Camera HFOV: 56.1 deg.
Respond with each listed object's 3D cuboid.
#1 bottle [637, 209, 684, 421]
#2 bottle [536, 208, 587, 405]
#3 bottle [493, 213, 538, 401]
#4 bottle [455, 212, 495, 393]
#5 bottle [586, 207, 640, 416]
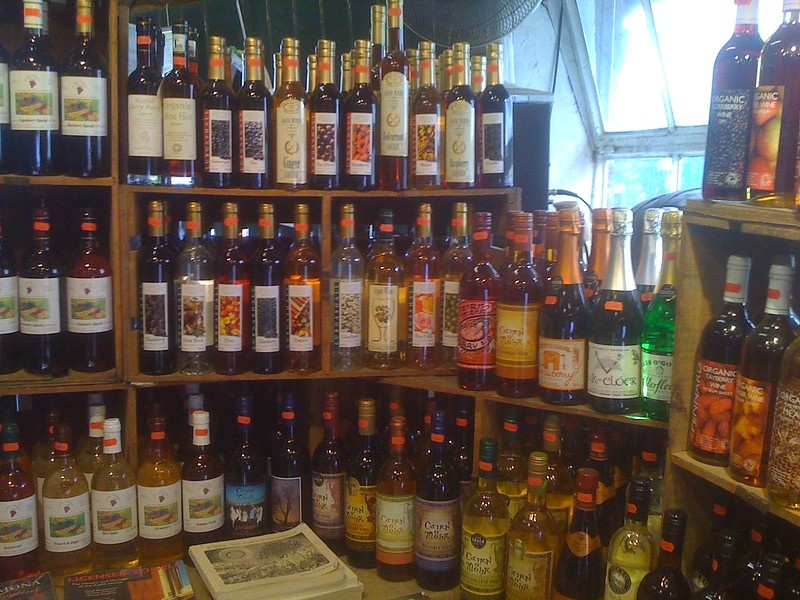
[{"bbox_3d":[0.602,0.065,1.748,0.081,0.414,0.214,0,8,20],"label":"bottle"},{"bbox_3d":[0.389,0.018,1.802,0.118,0.466,0.100,-1,8,12],"label":"bottle"},{"bbox_3d":[0.292,0.029,1.863,0.120,0.420,0.095,-2,8,6],"label":"bottle"},{"bbox_3d":[0.192,0.005,1.928,0.123,0.451,0.102,-1,8,12],"label":"bottle"},{"bbox_3d":[0.518,0.019,1.814,0.126,0.476,0.218,0,8,17],"label":"bottle"}]
